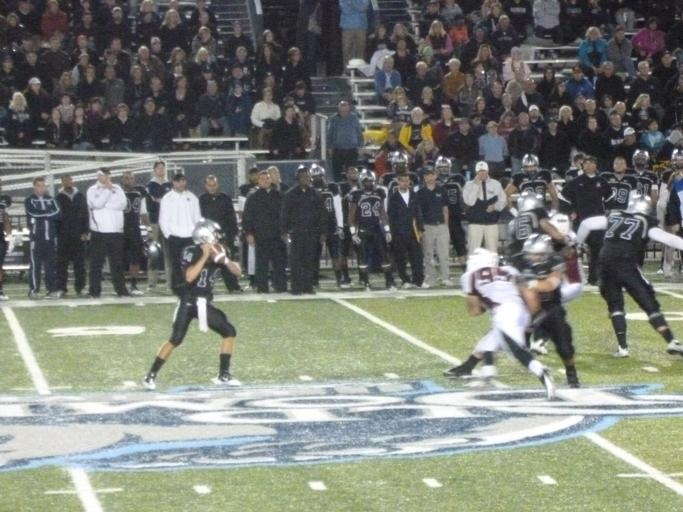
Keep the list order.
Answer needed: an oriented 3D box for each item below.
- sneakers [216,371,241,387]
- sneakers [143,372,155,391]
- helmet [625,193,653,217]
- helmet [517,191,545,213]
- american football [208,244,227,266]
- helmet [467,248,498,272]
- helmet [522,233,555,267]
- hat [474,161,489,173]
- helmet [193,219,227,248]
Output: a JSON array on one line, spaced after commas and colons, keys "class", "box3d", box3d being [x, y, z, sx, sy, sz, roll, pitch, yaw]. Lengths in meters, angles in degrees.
[{"class": "sneakers", "box3d": [-1.491, 1.609, 15.199, 0.359, 0.176, 0.255, -2, 11, -8]}, {"class": "sneakers", "box3d": [-2.507, 1.620, 15.037, 0.165, 0.216, 0.267, -2, 11, -10]}, {"class": "helmet", "box3d": [4.278, -0.756, 16.431, 0.371, 0.408, 0.461, 12, 2, 19]}, {"class": "helmet", "box3d": [2.770, -0.772, 16.731, 0.337, 0.302, 0.399, 0, 11, 3]}, {"class": "american football", "box3d": [-1.579, -0.017, 14.807, 0.169, 0.114, 0.274, -5, 48, -26]}, {"class": "helmet", "box3d": [1.821, 0.049, 14.682, 0.364, 0.279, 0.401, 2, 11, 11]}, {"class": "helmet", "box3d": [2.516, -0.091, 14.643, 0.384, 0.334, 0.362, 3, 11, 16]}, {"class": "hat", "box3d": [2.679, -1.688, 21.787, 0.254, 0.175, 0.362, -2, 12, 7]}, {"class": "helmet", "box3d": [-1.743, -0.309, 14.993, 0.358, 0.314, 0.530, -2, 11, -11]}]
